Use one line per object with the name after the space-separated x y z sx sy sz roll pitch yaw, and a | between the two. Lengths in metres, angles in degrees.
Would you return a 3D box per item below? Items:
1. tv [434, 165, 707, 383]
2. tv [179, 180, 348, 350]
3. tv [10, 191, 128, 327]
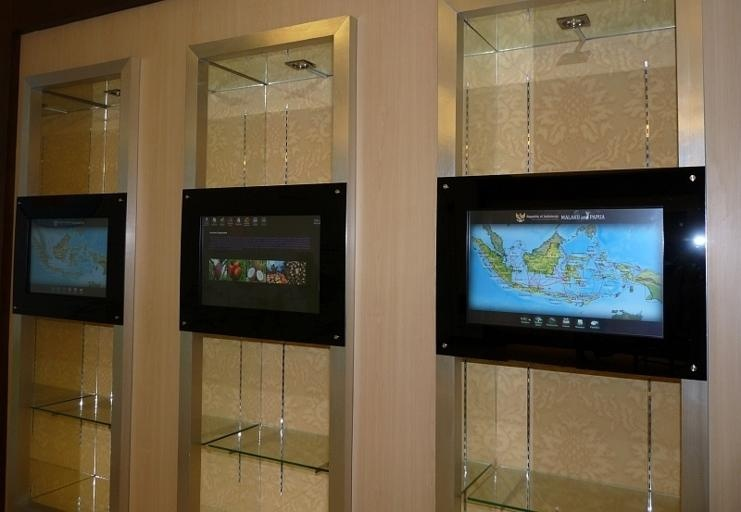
0.819 0.062 2.434 0.912 0.672 0.107 1 1 20 | tv
-0.498 0.040 2.888 0.827 0.698 0.090 1 1 22 | tv
-1.655 0.017 3.374 0.719 0.639 0.088 2 0 16 | tv
